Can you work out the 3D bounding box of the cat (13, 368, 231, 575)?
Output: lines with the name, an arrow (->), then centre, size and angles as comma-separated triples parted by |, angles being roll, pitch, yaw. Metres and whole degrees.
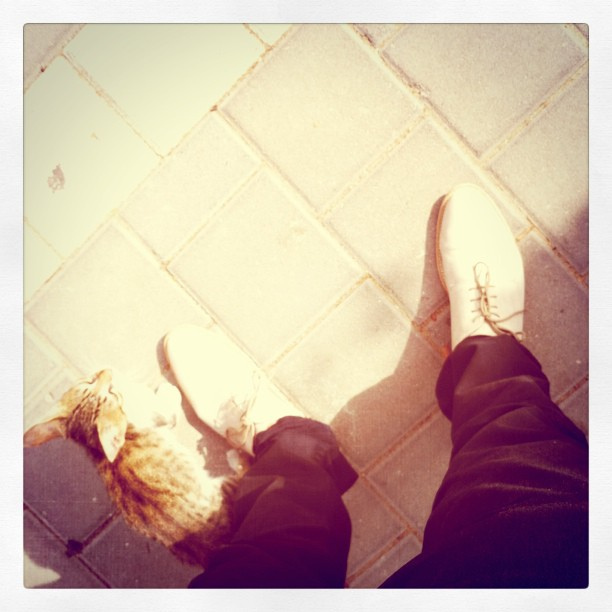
cat -> -0.356, 0.365, 1.558 | 0.270, 0.649, 0.343 | -39, 0, 5
